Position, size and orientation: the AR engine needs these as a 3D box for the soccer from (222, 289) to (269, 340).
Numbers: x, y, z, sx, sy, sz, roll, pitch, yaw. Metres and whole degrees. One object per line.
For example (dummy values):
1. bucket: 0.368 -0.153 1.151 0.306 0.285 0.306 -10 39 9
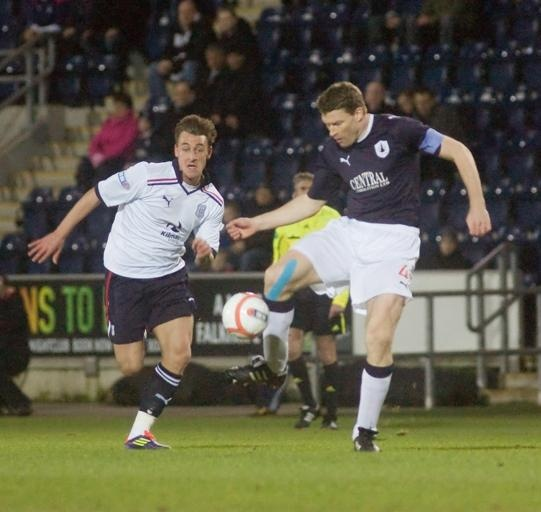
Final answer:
1. soccer: -0.206 0.498 9.566 0.456 0.385 0.415 8 -7 5

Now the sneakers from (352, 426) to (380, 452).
1. sneakers: 0.742 1.411 8.944 0.199 0.178 0.210 1 1 3

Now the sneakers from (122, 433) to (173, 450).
1. sneakers: -0.959 1.449 9.135 0.396 0.146 0.125 2 -2 -2

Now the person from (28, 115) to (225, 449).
1. person: -1.028 0.182 9.372 1.277 2.615 0.678 1 1 -3

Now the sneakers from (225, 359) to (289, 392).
1. sneakers: -0.058 0.917 9.459 0.587 0.244 0.184 0 -2 26
